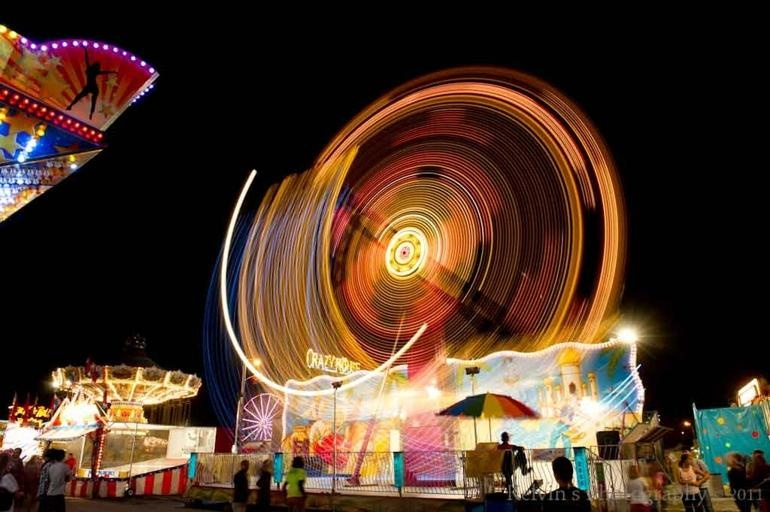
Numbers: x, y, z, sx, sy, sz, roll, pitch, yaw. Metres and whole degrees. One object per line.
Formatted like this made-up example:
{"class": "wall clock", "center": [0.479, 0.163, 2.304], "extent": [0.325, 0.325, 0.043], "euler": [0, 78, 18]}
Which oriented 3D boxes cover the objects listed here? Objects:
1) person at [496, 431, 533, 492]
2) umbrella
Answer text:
{"class": "person", "center": [3.426, 5.421, 14.754], "extent": [0.837, 1.538, 1.014], "euler": [-4, -25, 12]}
{"class": "umbrella", "center": [2.731, 4.622, 16.689], "extent": [1.978, 0.661, 1.965], "euler": [17, -31, -29]}
